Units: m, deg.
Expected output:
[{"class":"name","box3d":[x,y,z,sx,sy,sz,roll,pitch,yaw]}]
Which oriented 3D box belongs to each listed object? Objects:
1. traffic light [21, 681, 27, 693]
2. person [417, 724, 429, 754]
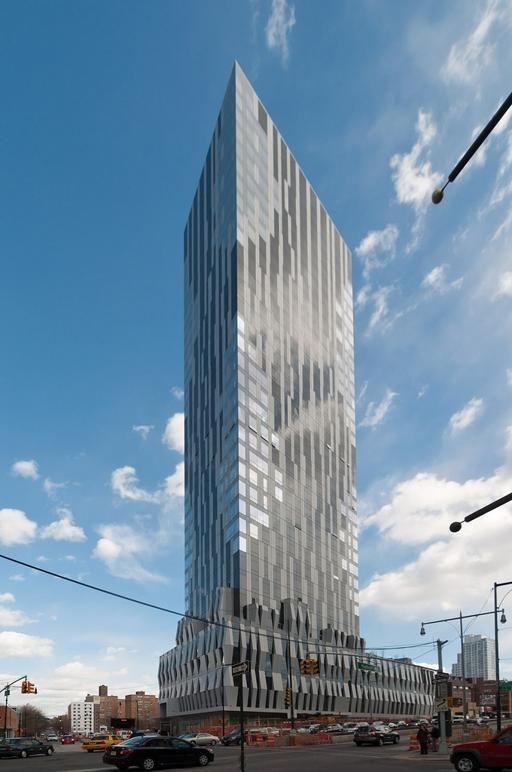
[{"class":"traffic light","box3d":[-17.986,23.696,65.203,0.421,0.944,0.995,5,-24,-14]},{"class":"person","box3d":[8.050,17.064,39.989,0.512,1.417,2.290,-4,-25,10]}]
